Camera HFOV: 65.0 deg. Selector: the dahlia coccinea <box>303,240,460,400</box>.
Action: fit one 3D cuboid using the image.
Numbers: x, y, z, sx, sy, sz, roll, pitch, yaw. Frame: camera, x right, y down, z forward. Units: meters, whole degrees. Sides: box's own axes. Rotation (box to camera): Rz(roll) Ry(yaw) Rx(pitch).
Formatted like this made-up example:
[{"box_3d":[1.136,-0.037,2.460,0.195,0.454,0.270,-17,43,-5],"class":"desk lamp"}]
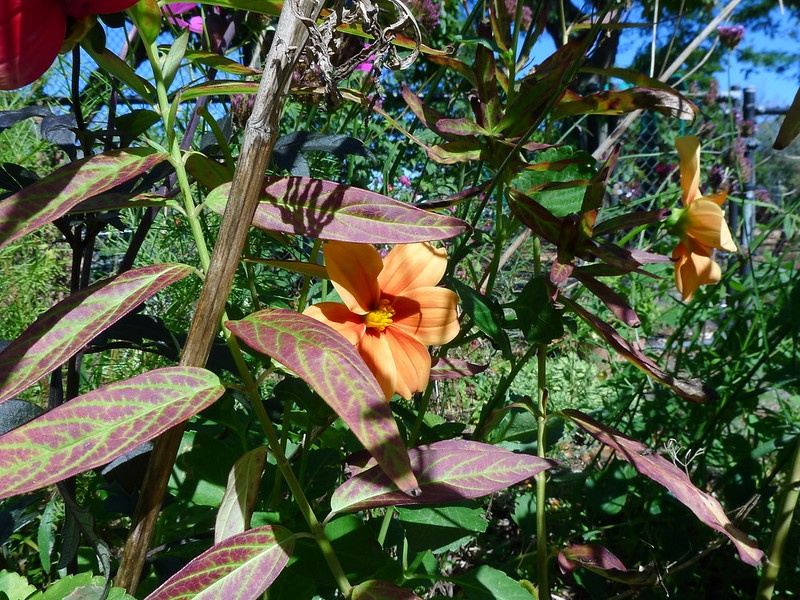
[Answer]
[{"box_3d":[-0.028,0.020,0.890,0.238,0.085,0.276,-16,52,1],"class":"dahlia coccinea"}]
